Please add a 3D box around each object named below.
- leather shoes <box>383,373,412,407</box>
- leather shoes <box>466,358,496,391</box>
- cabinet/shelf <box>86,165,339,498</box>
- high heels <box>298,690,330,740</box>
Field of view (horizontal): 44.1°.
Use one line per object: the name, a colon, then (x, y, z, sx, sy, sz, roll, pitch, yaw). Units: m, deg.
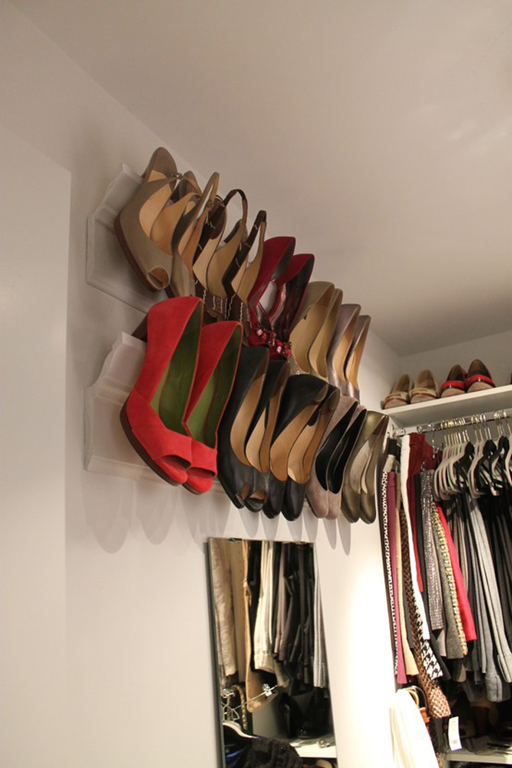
leather shoes: (0.640, 0.041, 2.858, 0.076, 0.095, 0.234, -19, -3, 21)
leather shoes: (0.933, -0.051, 2.633, 0.074, 0.095, 0.229, -7, 6, 14)
cabinet/shelf: (-0.087, -0.050, 1.423, 0.225, 0.804, 0.583, -4, -11, 20)
high heels: (0.154, 0.876, 1.669, 0.051, 0.074, 0.171, -1, -8, 9)
